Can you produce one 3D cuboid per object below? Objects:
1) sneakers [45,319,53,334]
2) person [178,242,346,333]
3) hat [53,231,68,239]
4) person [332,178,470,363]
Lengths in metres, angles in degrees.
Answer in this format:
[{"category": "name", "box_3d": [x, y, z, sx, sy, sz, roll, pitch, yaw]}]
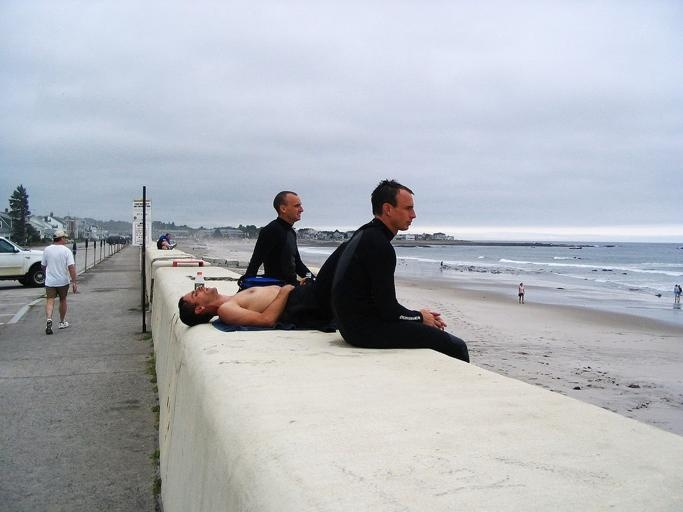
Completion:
[{"category": "sneakers", "box_3d": [-5.888, 1.435, 9.350, 0.118, 0.315, 0.140, 3, 47, -13]}, {"category": "person", "box_3d": [-0.651, 0.354, 4.772, 2.013, 0.741, 1.435, -9, 5, -5]}, {"category": "hat", "box_3d": [-5.977, -0.443, 9.883, 0.269, 0.177, 0.354, 2, 5, 17]}, {"category": "person", "box_3d": [0.404, 0.113, 3.928, 0.997, 1.293, 0.482, -4, -2, -5]}]
